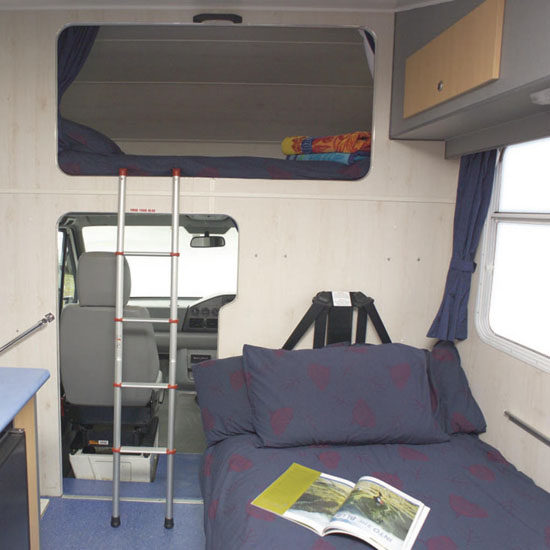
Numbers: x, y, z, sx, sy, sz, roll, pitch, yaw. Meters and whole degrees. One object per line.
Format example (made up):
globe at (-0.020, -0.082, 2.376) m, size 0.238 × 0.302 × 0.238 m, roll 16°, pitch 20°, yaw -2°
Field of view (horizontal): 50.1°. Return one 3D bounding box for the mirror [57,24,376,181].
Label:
mirror at (-0.365, -1.013, 3.462) m, size 1.877 × 0.826 × 0.473 m, roll 1°, pitch 13°, yaw -1°

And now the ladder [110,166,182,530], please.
ladder at (-0.717, 0.377, 3.221) m, size 0.428 × 1.866 × 0.630 m, roll -1°, pitch 13°, yaw -10°

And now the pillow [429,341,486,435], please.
pillow at (0.991, 0.637, 3.222) m, size 0.220 × 0.480 × 0.137 m, roll 0°, pitch -27°, yaw -13°

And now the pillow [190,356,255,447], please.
pillow at (-0.270, 0.658, 3.147) m, size 0.327 × 0.436 × 0.115 m, roll -11°, pitch -17°, yaw 4°

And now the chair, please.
chair at (-1.007, 0.338, 3.373) m, size 0.525 × 1.050 × 0.769 m, roll 1°, pitch 1°, yaw 0°

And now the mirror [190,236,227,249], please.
mirror at (-0.382, -0.191, 3.349) m, size 0.199 × 0.073 × 0.021 m, roll -1°, pitch 13°, yaw -11°
